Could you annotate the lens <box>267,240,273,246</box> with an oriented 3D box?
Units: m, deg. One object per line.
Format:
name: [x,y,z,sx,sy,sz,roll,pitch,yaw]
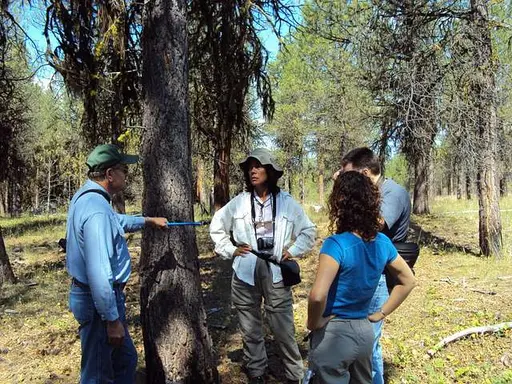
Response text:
lens: [0.214,0.776,6.940,0.074,0.098,0.089,0,-8,5]

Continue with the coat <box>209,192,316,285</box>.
coat: [0.094,0.846,7.634,1.499,1.749,0.691,1,-5,0]

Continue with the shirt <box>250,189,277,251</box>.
shirt: [0.115,0.369,7.171,0.346,1.450,0.201,-7,-37,5]

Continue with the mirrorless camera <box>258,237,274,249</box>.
mirrorless camera: [0.142,0.782,6.934,0.195,0.181,0.159,-1,-3,-3]

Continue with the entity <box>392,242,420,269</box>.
entity: [2.099,0.856,6.527,0.333,0.430,0.327,-3,5,-5]

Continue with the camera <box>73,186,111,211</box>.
camera: [-2.189,0.034,6.354,0.254,0.271,0.088,31,-11,-8]

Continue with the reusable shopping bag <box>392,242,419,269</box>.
reusable shopping bag: [2.112,0.879,6.561,0.332,0.427,0.328,-3,5,-5]

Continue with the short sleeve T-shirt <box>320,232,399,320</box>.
short sleeve T-shirt: [1.278,1.072,5.786,0.879,1.128,0.522,2,6,-15]

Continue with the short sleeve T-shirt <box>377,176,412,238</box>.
short sleeve T-shirt: [2.083,0.243,6.727,0.382,0.791,0.877,0,9,19]
